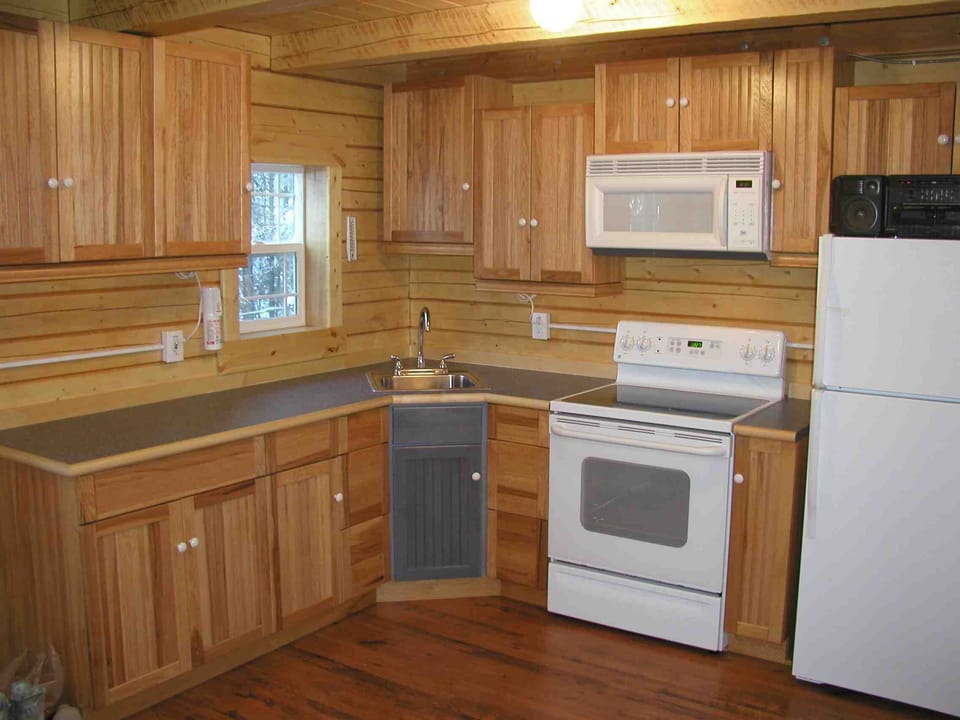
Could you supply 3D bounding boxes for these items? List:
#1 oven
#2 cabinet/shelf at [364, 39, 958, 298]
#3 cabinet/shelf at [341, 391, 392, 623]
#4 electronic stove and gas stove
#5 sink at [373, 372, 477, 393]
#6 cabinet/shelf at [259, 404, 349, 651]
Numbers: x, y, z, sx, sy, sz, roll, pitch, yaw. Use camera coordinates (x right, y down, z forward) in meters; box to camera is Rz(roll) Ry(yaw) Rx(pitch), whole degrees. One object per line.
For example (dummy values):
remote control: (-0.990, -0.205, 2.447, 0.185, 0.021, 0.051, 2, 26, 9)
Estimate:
oven: (0.910, 0.714, 3.904, 0.942, 0.953, 0.820, 8, 12, 36)
cabinet/shelf: (0.697, -0.870, 3.812, 3.272, 1.073, 1.063, 7, 14, 28)
cabinet/shelf: (-0.578, 0.663, 3.696, 0.270, 0.806, 0.297, -6, 17, -35)
electronic stove and gas stove: (0.875, 0.125, 3.762, 0.907, 0.102, 0.841, 4, 9, 28)
sink: (-0.316, 0.132, 4.225, 0.543, 0.099, 0.315, -2, 12, -10)
cabinet/shelf: (-0.755, 0.719, 3.466, 0.352, 0.855, 0.353, 13, 17, 35)
